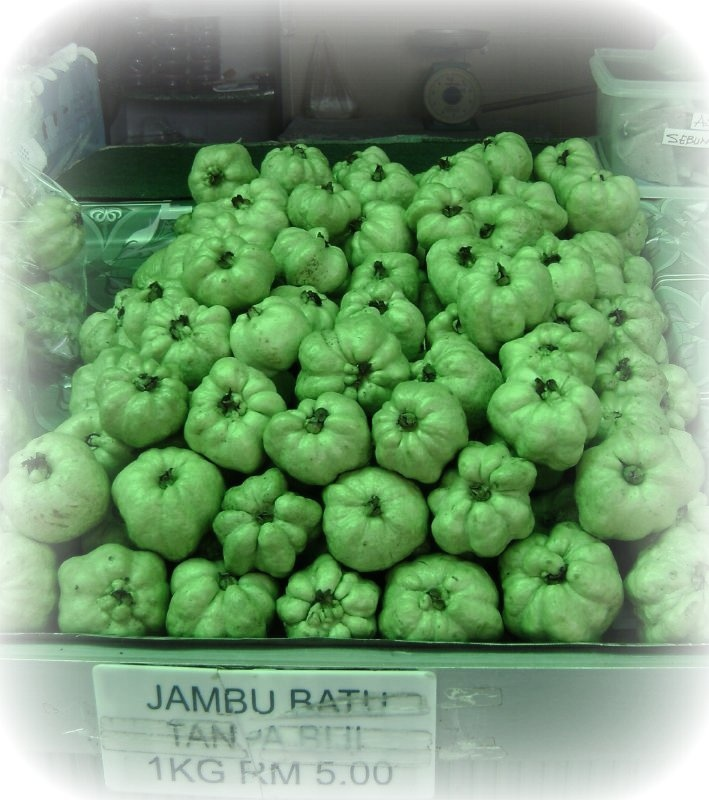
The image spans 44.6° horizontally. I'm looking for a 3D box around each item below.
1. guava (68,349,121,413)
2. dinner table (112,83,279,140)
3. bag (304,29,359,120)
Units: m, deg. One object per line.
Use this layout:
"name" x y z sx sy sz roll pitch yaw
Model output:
"guava" -0.851 -0.059 2.845 0.102 0.213 0.205 25 23 -27
"dinner table" -0.812 -1.452 4.406 0.891 0.321 0.262 -9 47 -9
"bag" -0.111 -1.688 4.425 0.400 0.436 0.191 5 59 9
